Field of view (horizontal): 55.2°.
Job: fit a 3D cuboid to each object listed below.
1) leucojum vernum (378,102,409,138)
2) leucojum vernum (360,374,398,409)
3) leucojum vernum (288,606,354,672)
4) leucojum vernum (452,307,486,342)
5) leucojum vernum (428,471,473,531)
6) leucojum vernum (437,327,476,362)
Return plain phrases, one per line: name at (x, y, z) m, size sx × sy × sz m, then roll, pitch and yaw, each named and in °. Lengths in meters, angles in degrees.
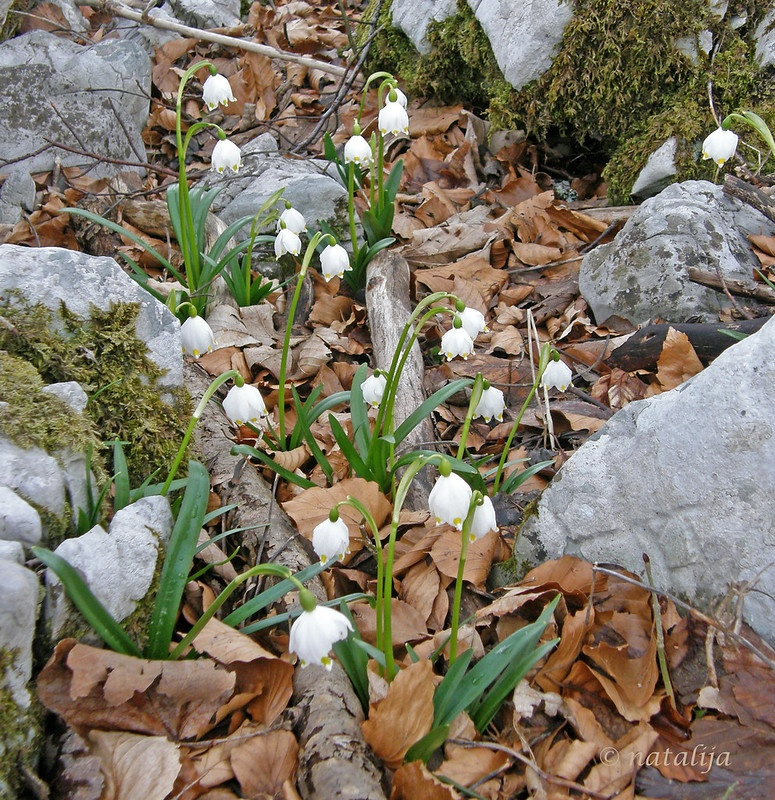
leucojum vernum at (0.016, -1.371, 3.657) m, size 0.175 × 0.179 × 0.164 m, roll -1°, pitch 53°, yaw -2°
leucojum vernum at (-0.040, -0.027, 2.866) m, size 0.116 × 0.108 × 0.138 m, roll 10°, pitch 78°, yaw -4°
leucojum vernum at (-0.155, 0.516, 1.706) m, size 0.140 × 0.139 × 0.090 m, roll -37°, pitch 108°, yaw 11°
leucojum vernum at (0.301, -0.280, 2.641) m, size 0.048 × 0.123 × 0.133 m, roll -20°, pitch 93°, yaw -18°
leucojum vernum at (0.155, 0.257, 1.891) m, size 0.102 × 0.050 × 0.139 m, roll -15°, pitch 90°, yaw 22°
leucojum vernum at (0.232, -0.195, 2.621) m, size 0.133 × 0.131 × 0.129 m, roll 0°, pitch 77°, yaw 3°
